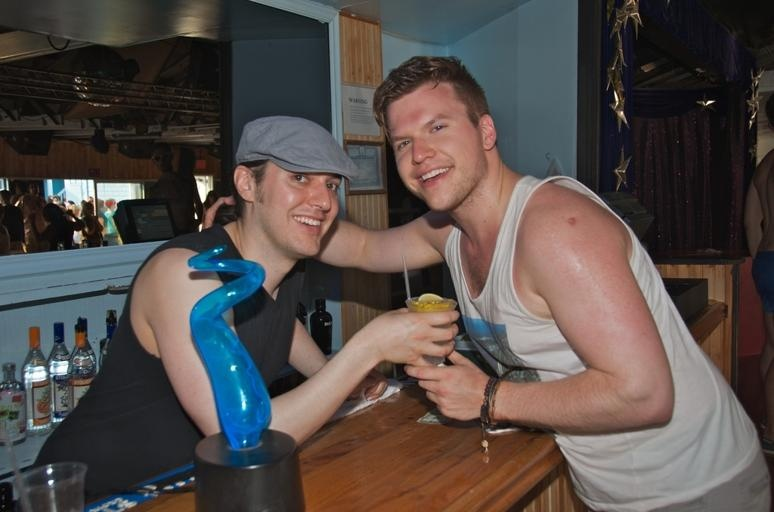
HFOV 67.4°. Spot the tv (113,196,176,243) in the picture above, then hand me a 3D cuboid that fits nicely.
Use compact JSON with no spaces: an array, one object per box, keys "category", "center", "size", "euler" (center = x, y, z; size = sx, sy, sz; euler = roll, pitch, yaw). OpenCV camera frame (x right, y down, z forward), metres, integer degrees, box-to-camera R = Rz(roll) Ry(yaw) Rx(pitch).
[{"category":"tv","center":[-1.534,-0.233,3.650],"size":[0.132,0.243,0.266],"euler":[-20,-2,36]}]

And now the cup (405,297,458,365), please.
[{"category":"cup","center":[0.170,0.308,2.543],"size":[0.243,0.295,0.264],"euler":[0,1,0]}]

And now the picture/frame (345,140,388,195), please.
[{"category":"picture/frame","center":[-0.169,-0.655,4.352],"size":[0.430,0.404,0.047],"euler":[-10,10,-43]}]

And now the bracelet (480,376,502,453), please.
[{"category":"bracelet","center":[0.419,0.623,2.393],"size":[0.052,0.179,0.230],"euler":[6,29,11]}]
